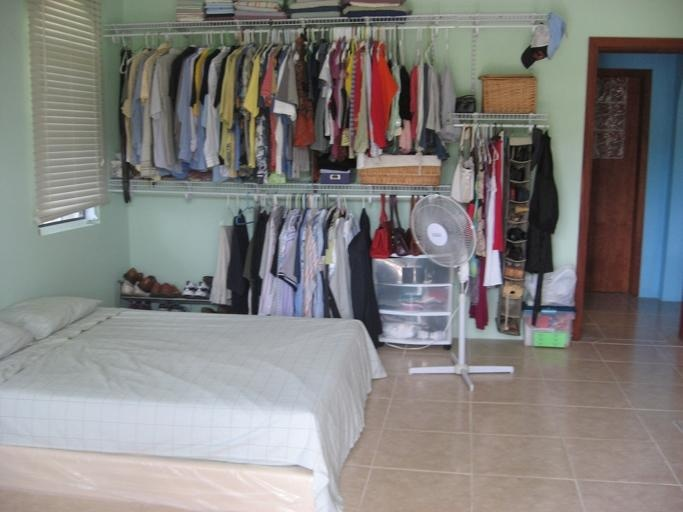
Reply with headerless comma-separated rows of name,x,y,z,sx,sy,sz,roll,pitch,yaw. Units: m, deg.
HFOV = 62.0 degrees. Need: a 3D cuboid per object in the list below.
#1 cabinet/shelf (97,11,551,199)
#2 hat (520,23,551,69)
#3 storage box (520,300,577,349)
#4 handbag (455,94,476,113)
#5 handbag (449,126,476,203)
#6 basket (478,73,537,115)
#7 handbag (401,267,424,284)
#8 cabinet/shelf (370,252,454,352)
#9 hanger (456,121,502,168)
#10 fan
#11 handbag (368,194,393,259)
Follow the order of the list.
cabinet/shelf,-0.322,-1.411,5.251,3.510,1.543,0.699,2,14,8
hat,1.702,-1.889,5.103,0.121,0.339,0.275,27,37,35
storage box,1.975,0.732,5.419,0.471,0.366,0.310,-1,-29,30
handbag,1.109,-1.377,5.120,0.176,0.180,0.142,4,8,15
handbag,1.100,-0.805,5.142,0.205,0.729,0.329,2,14,11
basket,1.473,-1.436,5.035,0.554,0.402,0.316,0,7,4
handbag,0.630,0.160,5.109,0.237,0.181,0.134,3,9,20
cabinet/shelf,0.720,0.327,5.438,0.907,1.262,0.734,0,4,17
hanger,1.224,-1.002,5.111,0.433,0.502,0.060,1,1,11
fan,0.971,0.247,4.623,0.753,1.521,0.598,-12,18,-38
handbag,0.359,-0.276,5.252,0.248,0.794,0.540,2,5,9
